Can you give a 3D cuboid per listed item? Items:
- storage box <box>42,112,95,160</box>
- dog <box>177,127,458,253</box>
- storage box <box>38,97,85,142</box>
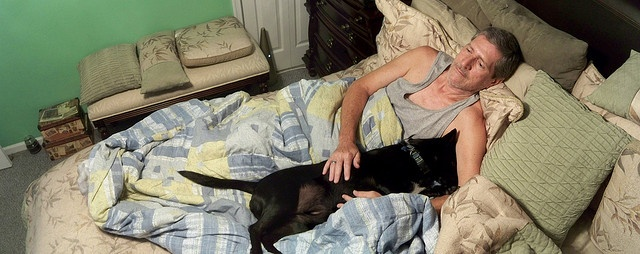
[{"bbox_3d":[-2.962,0.103,4.707,0.491,0.340,0.411,-20,-26,-16],"label":"storage box"},{"bbox_3d":[-0.033,0.641,3.779,2.729,0.871,0.520,-10,-21,-1],"label":"dog"},{"bbox_3d":[-3.033,-0.054,4.904,0.558,0.484,0.305,-22,-34,-9],"label":"storage box"}]
